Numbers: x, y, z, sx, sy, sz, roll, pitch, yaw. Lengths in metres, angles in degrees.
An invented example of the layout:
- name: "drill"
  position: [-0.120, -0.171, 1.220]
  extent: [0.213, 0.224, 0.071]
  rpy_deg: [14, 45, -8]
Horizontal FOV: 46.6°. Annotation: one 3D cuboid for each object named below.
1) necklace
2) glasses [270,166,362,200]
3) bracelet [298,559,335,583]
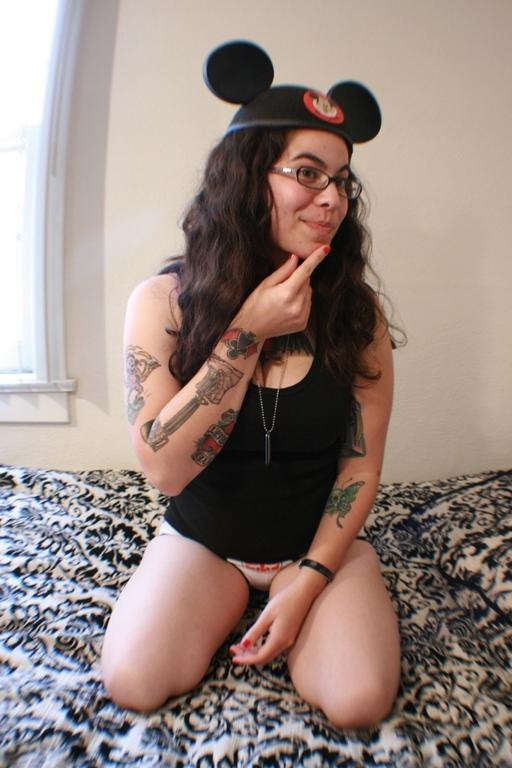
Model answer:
- name: "necklace"
  position: [0.027, 0.055, 1.178]
  extent: [0.056, 0.239, 0.009]
  rpy_deg: [3, 17, 2]
- name: "glasses"
  position: [0.159, -0.419, 1.253]
  extent: [0.115, 0.053, 0.274]
  rpy_deg: [12, 18, 36]
- name: "bracelet"
  position: [0.116, 0.355, 1.150]
  extent: [0.051, 0.015, 0.049]
  rpy_deg: [43, -18, -26]
